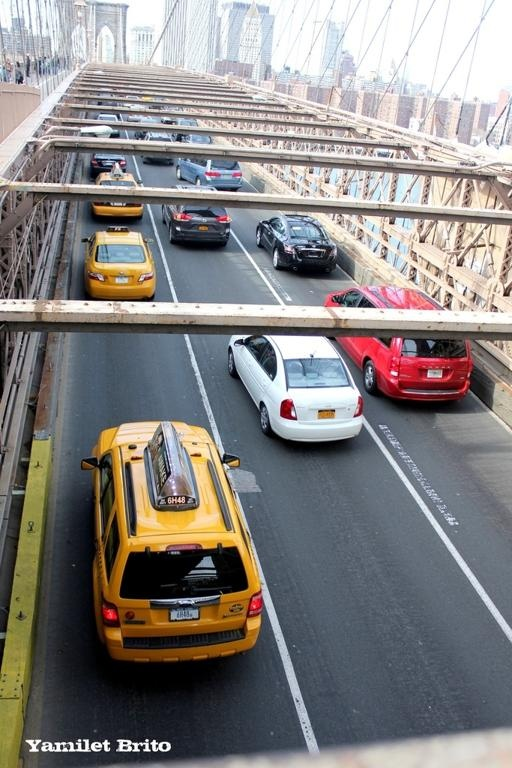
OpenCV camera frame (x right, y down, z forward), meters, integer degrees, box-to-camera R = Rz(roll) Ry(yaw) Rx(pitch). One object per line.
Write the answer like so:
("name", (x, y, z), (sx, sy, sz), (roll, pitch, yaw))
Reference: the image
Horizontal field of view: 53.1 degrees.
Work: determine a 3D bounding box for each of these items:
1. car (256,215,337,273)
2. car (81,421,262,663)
("car", (1.520, -5.480, 20.366), (1.703, 1.842, 3.199), (-12, 37, -40))
("car", (-1.155, 1.957, 6.833), (1.885, 2.591, 2.851), (1, 28, -19))
